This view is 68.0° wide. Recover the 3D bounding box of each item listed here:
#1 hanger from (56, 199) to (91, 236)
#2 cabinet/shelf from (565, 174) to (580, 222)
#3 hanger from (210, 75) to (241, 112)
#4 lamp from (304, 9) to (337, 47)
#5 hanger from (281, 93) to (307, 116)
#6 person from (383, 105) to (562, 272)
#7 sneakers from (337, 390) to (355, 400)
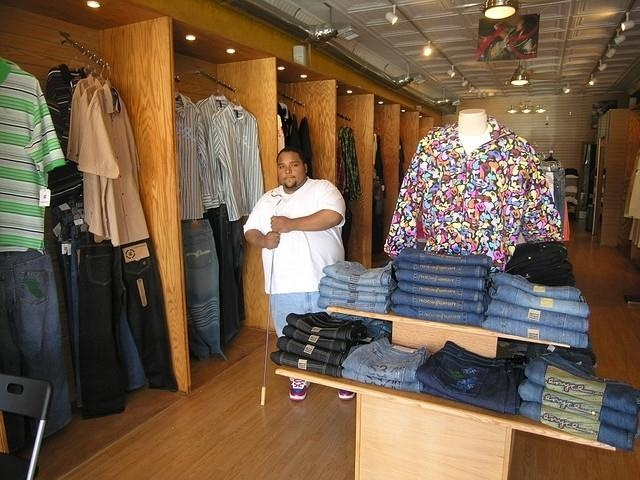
[{"bbox_3d":[-1.916,-0.167,3.706,0.291,0.267,0.089,-8,0,-9],"label":"hanger"},{"bbox_3d":[7.368,-1.301,13.939,0.405,1.321,0.618,5,12,26],"label":"cabinet/shelf"},{"bbox_3d":[-0.935,-1.523,4.879,0.278,0.348,0.457,-2,11,-9],"label":"hanger"},{"bbox_3d":[0.034,-2.650,6.054,0.381,0.199,0.280,0,11,0],"label":"lamp"},{"bbox_3d":[-0.322,-1.705,5.969,0.428,0.239,0.033,12,-8,-23],"label":"hanger"},{"bbox_3d":[0.950,-0.315,3.072,1.200,0.978,0.443,6,-3,4],"label":"person"},{"bbox_3d":[0.218,1.264,3.894,0.085,0.067,0.171,0,-5,14],"label":"sneakers"}]
